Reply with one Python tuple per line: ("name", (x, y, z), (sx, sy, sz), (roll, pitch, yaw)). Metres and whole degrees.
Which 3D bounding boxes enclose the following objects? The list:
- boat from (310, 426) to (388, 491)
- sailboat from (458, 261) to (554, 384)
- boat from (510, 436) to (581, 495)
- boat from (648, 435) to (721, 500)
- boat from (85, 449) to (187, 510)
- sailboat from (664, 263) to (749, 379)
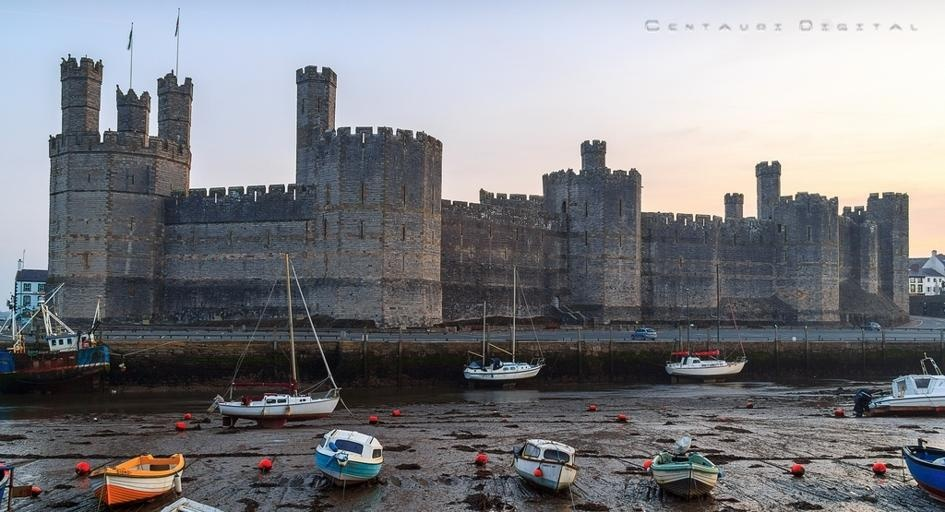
("boat", (-7.359, 11.710, 81.768), (4.490, 2.187, 7.237), (11, 3, -1))
("sailboat", (2.265, 6.984, 96.435), (5.109, 3.491, 3.305), (-2, 0, -43))
("boat", (4.619, 12.002, 81.734), (4.128, 1.980, 6.433), (4, 1, -7))
("boat", (12.384, 12.131, 79.533), (3.777, 3.101, 0.965), (-2, 1, 4))
("boat", (-19.171, 12.771, 79.050), (5.100, 2.913, 1.710), (-2, 0, -8))
("sailboat", (16.812, 5.586, 99.187), (6.030, 5.838, 1.830), (-5, 8, 13))
